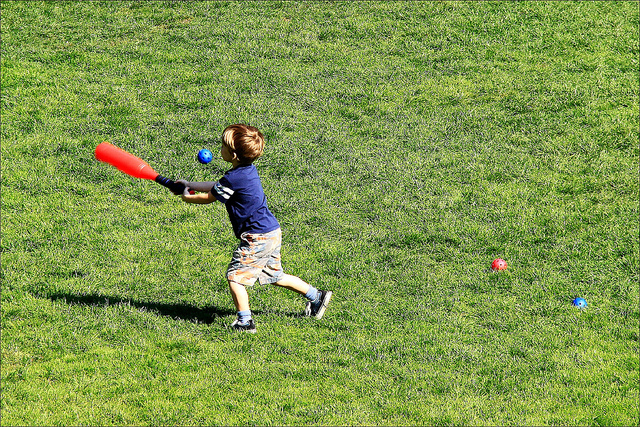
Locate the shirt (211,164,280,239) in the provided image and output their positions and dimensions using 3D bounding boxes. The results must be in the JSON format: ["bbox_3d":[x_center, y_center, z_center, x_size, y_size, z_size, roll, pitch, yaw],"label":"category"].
[{"bbox_3d":[-1.135,-0.308,17.481,1.066,1.147,0.979,5,20,23],"label":"shirt"}]

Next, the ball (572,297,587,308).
[{"bbox_3d":[4.093,1.393,17.863,0.226,0.092,0.140,12,28,16],"label":"ball"}]

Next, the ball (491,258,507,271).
[{"bbox_3d":[2.917,0.803,18.440,0.183,0.100,0.182,8,49,-9],"label":"ball"}]

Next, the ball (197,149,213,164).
[{"bbox_3d":[-1.831,-0.906,18.018,0.194,0.228,0.343,2,27,-2],"label":"ball"}]
